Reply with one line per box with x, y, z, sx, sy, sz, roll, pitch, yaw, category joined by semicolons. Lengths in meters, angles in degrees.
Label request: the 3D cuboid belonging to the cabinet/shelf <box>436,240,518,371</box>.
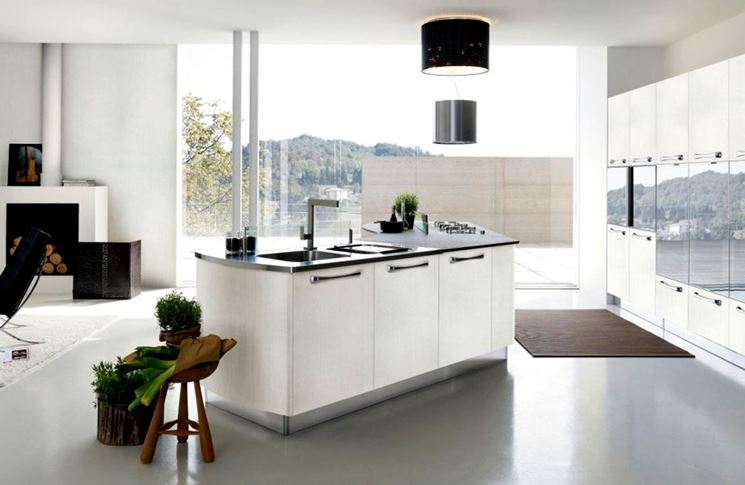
1.058;0.635;5.854;1.397;1.343;0.868;0;-1;-44;cabinet/shelf

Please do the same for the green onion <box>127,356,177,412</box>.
-1.725;1.068;4.461;0.340;0.466;0.168;15;-34;17;green onion

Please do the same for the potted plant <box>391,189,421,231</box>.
0.385;-0.393;6.692;0.295;0.430;0.414;0;13;1;potted plant

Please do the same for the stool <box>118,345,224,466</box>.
-1.556;1.405;4.690;0.800;0.970;0.698;14;12;41;stool

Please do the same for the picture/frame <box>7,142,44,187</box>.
-5.756;-1.278;9.306;0.763;0.994;0.072;-1;-1;1;picture/frame

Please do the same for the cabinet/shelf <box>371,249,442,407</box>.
0.335;0.732;5.350;0.412;1.146;0.758;3;6;31;cabinet/shelf

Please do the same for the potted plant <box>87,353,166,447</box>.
-2.079;1.304;4.917;0.554;0.702;0.673;2;10;-20;potted plant

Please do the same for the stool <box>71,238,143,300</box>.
-4.218;0.402;9.114;0.922;0.919;0.936;0;1;0;stool

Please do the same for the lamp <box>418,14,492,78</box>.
1.115;-2.702;7.612;0.897;0.737;0.615;2;13;7;lamp

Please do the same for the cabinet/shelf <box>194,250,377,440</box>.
-0.977;0.839;5.491;1.915;1.393;1.067;-7;14;-44;cabinet/shelf

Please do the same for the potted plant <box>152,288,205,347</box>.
-1.984;0.788;5.698;0.439;0.480;0.407;-4;8;37;potted plant

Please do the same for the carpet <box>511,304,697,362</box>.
2.810;1.153;7.695;1.912;0.029;2.868;0;4;2;carpet
